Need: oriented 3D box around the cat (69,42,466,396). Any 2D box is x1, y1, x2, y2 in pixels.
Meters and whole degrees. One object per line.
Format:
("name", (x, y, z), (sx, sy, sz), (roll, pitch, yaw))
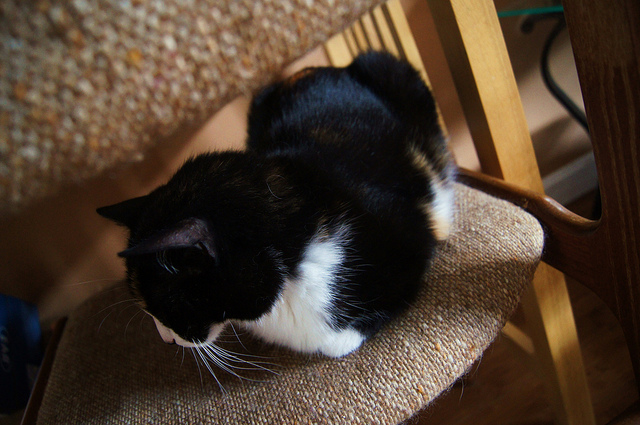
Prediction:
("cat", (-0.031, -0.034, 1.352), (0.634, 0.506, 1.051), (2, 38, 25))
